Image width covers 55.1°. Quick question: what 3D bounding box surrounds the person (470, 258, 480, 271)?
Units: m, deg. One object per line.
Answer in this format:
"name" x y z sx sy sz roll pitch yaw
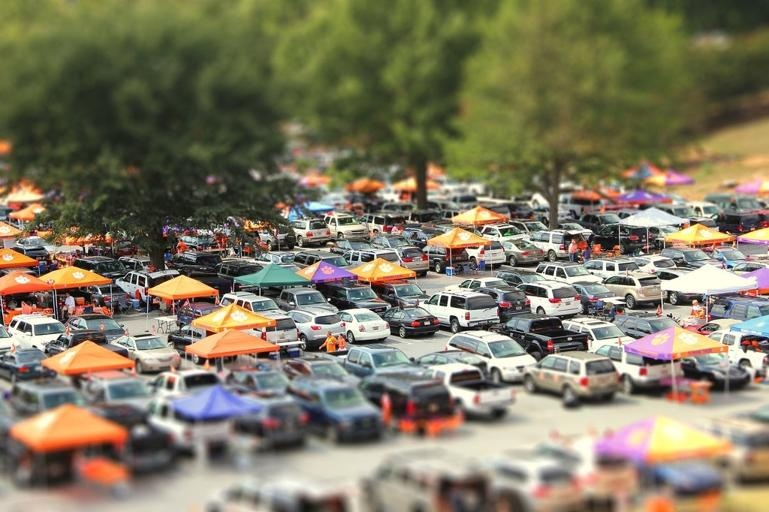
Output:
"person" 5.261 0.547 43.279 0.386 0.675 0.583 -5 -6 22

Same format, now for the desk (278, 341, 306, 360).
"desk" -3.803 3.827 29.947 1.057 0.360 0.780 4 4 39

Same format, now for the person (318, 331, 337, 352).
"person" -2.351 3.540 30.414 0.836 1.100 0.365 -6 31 -10

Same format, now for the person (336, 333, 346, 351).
"person" -1.796 3.584 30.259 0.602 0.739 0.266 2 18 8
